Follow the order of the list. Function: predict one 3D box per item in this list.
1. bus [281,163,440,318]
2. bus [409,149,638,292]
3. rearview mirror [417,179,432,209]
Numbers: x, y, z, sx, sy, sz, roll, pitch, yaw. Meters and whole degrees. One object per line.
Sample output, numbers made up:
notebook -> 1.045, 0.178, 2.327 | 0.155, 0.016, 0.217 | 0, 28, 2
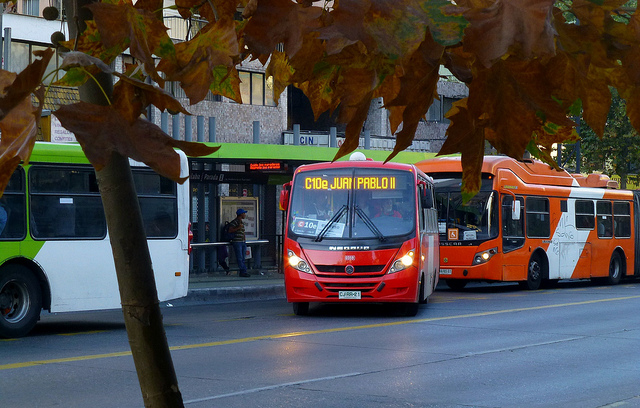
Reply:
bus -> 0.779, 0.590, 14.764 | 1.629, 1.951, 3.837 | -1, -9, 8
bus -> 6.914, 0.473, 23.210 | 3.615, 4.340, 11.259 | -7, -10, 41
rearview mirror -> 2.187, -0.156, 15.866 | 0.169, 0.679, 0.384 | 7, 9, 21
